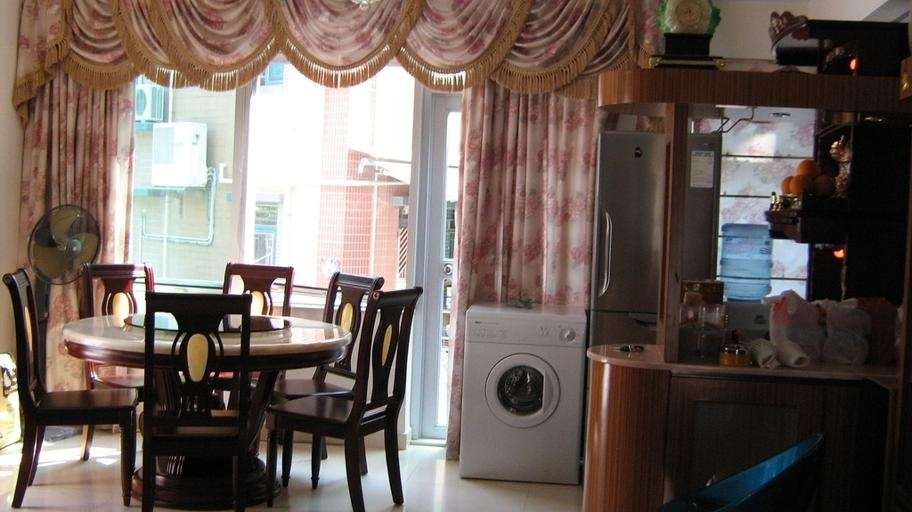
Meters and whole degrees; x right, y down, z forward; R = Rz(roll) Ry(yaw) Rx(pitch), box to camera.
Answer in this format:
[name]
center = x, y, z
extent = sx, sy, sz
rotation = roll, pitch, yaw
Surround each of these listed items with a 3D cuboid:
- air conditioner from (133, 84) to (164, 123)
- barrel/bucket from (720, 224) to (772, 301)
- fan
[air conditioner]
center = -2.717, -1.347, 6.742
extent = 0.187, 0.296, 0.242
rotation = 1, 8, -16
[barrel/bucket]
center = 1.933, 0.041, 5.050
extent = 0.370, 0.484, 0.227
rotation = -1, 13, 9
[fan]
center = -3.276, 0.485, 6.417
extent = 0.572, 1.765, 0.552
rotation = 3, -2, 33
